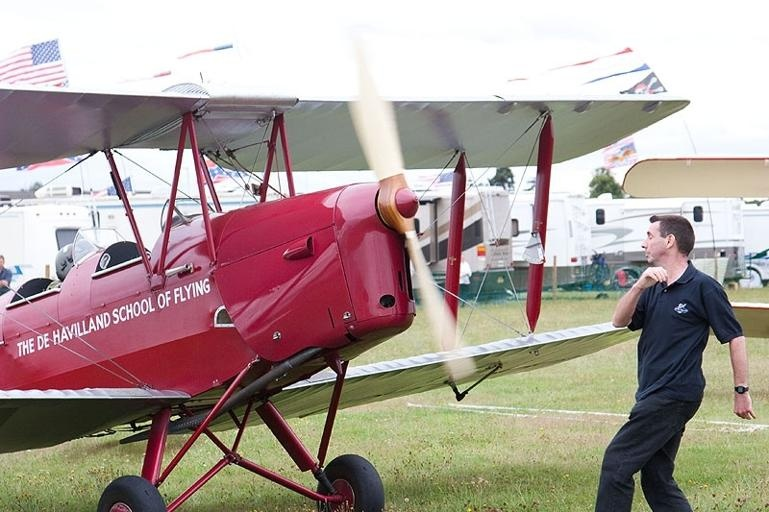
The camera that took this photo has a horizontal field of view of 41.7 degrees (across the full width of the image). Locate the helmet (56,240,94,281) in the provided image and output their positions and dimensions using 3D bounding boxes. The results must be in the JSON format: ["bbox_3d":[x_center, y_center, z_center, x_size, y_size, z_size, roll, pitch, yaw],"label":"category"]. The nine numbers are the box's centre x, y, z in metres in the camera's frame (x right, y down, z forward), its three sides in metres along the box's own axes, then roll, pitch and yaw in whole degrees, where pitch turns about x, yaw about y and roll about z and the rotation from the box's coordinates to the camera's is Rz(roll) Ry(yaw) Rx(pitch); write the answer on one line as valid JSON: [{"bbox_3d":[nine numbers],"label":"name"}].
[{"bbox_3d":[-3.124,0.016,9.978,0.456,0.330,0.313,-27,7,-16],"label":"helmet"}]

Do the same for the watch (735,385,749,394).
[{"bbox_3d":[2.901,1.076,8.214,0.076,0.045,0.087,1,-7,8],"label":"watch"}]
